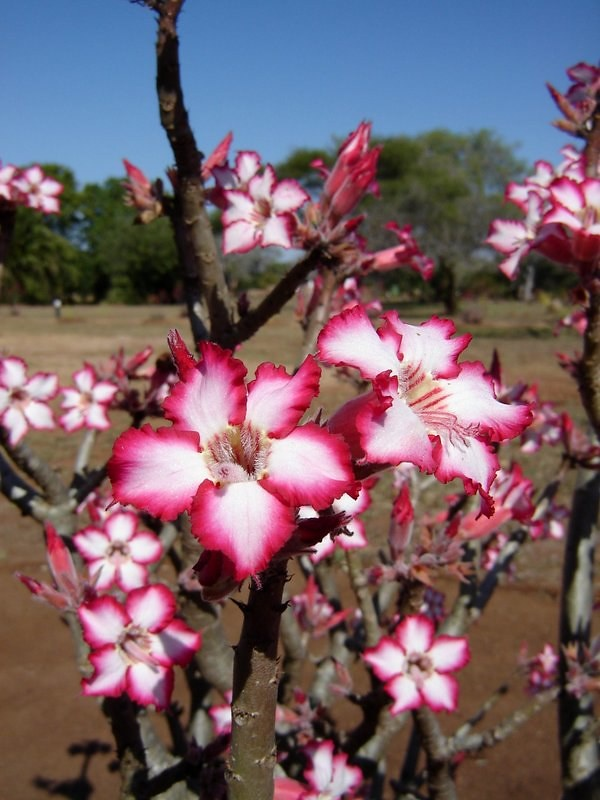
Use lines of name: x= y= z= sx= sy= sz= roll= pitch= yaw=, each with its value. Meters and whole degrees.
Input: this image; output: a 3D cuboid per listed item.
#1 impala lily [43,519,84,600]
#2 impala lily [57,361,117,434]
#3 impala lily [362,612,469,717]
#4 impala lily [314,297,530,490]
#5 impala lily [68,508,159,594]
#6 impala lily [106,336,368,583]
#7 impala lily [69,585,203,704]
impala lily: x=-0.440 y=0.303 z=1.465 sx=0.055 sy=0.146 sz=0.113 roll=-7 pitch=9 yaw=-19
impala lily: x=-0.608 y=0.001 z=2.208 sx=0.056 sy=0.175 sz=0.183 roll=32 pitch=24 yaw=36
impala lily: x=0.224 y=0.483 z=1.425 sx=0.183 sy=0.147 sz=0.121 roll=-10 pitch=10 yaw=-37
impala lily: x=0.192 y=0.006 z=1.203 sx=0.334 sy=0.129 sz=0.300 roll=2 pitch=47 yaw=-25
impala lily: x=-0.406 y=0.351 z=1.778 sx=0.191 sy=0.057 sz=0.199 roll=34 pitch=33 yaw=31
impala lily: x=-0.097 y=0.067 z=1.056 sx=0.312 sy=0.322 sz=0.189 roll=-6 pitch=9 yaw=-13
impala lily: x=-0.291 y=0.417 z=1.429 sx=0.240 sy=0.208 sz=0.096 roll=10 pitch=-5 yaw=-28
